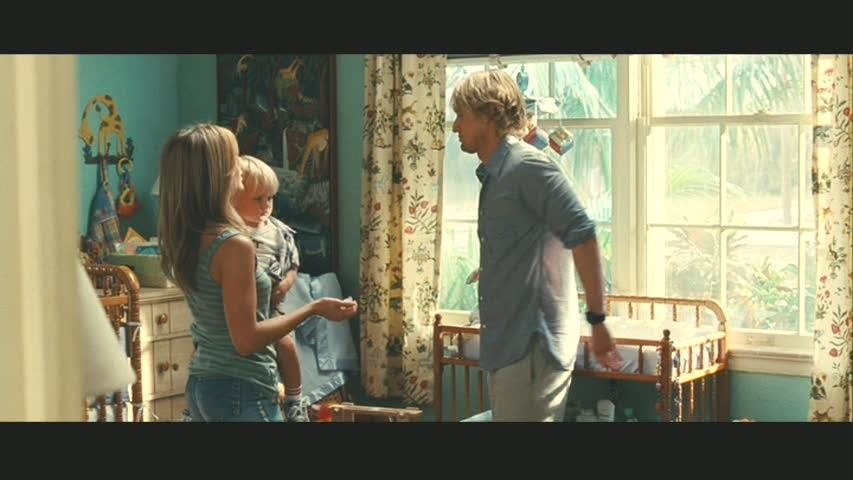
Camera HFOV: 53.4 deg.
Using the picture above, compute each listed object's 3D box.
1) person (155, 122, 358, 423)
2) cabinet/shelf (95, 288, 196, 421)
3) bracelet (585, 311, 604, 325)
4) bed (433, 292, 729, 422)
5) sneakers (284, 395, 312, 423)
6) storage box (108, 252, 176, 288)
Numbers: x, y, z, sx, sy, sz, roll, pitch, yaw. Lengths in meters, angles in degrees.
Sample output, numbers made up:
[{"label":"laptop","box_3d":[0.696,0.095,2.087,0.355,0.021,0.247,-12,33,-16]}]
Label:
[{"label":"person","box_3d":[-0.644,0.110,2.986,0.556,1.043,0.205,-2,-1,-18]},{"label":"cabinet/shelf","box_3d":[-1.175,0.527,3.333,0.471,0.565,0.456,0,-19,-18]},{"label":"bracelet","box_3d":[0.589,0.271,2.971,0.056,0.032,0.045,-4,7,-43]},{"label":"bed","box_3d":[0.802,0.544,3.547,0.505,0.486,0.797,-14,9,-41]},{"label":"sneakers","box_3d":[-0.473,0.620,3.091,0.081,0.136,0.123,-4,-1,0]},{"label":"storage box","box_3d":[-1.089,0.116,3.271,0.240,0.096,0.158,1,6,-8]}]
